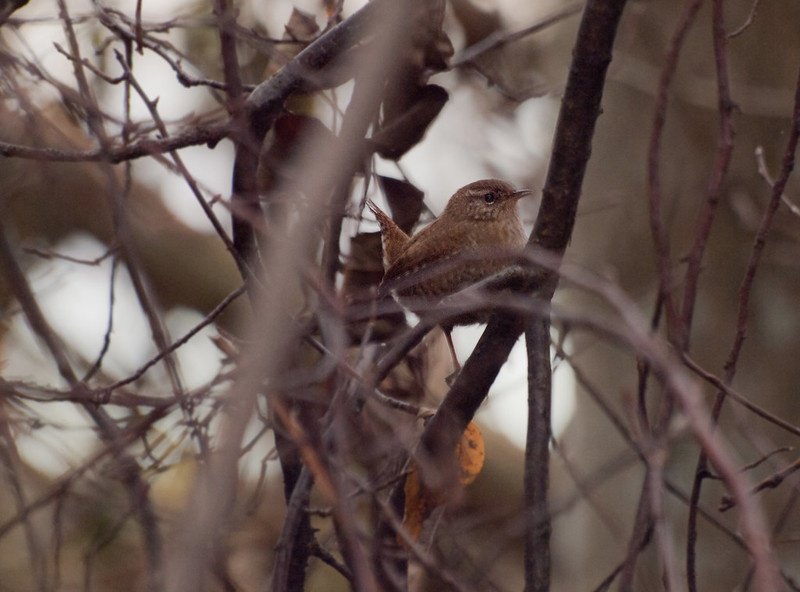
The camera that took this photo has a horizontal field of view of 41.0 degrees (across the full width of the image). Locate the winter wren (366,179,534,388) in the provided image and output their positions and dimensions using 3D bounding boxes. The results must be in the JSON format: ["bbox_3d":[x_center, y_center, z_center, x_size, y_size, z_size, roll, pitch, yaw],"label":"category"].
[{"bbox_3d":[0.205,-0.165,4.276,0.856,0.466,0.973,-5,-96,-4],"label":"winter wren"}]
